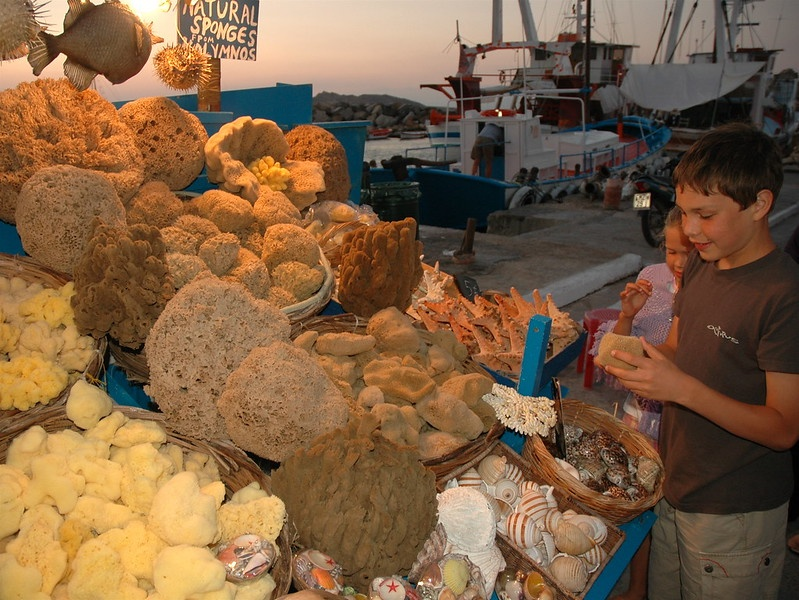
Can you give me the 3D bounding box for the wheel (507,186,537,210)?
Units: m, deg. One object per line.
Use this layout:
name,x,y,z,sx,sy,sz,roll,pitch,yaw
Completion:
wheel,2.783,-2.117,12.662,0.250,0.687,0.763,23,11,36

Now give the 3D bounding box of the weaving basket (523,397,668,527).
weaving basket,0.801,0.633,2.420,0.693,0.403,0.594,5,14,21

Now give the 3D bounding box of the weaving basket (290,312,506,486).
weaving basket,0.068,0.353,2.498,0.679,0.421,0.911,-14,22,-42

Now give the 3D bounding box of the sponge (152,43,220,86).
sponge,-1.207,-1.263,3.137,0.210,0.202,0.213,-23,24,-31
